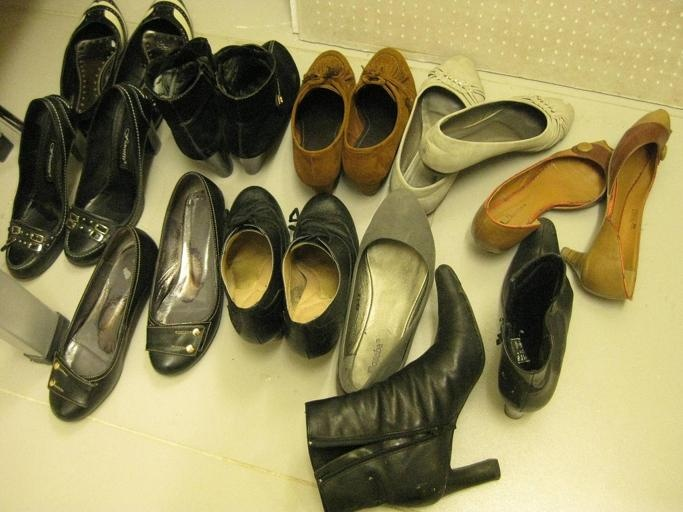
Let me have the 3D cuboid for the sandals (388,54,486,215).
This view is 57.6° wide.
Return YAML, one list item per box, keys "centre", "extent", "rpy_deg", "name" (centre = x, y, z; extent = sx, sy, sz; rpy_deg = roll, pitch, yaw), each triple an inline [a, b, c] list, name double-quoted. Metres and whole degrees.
- centre: [0.326, -0.436, 2.039]
  extent: [0.225, 0.613, 0.158]
  rpy_deg: [18, 0, 14]
  name: "sandals"

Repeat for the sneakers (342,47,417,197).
- centre: [0.122, -0.474, 2.021]
  extent: [0.191, 0.538, 0.198]
  rpy_deg: [12, -21, 8]
  name: "sneakers"

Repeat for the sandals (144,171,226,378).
- centre: [-0.483, 0.062, 2.045]
  extent: [0.225, 0.687, 0.179]
  rpy_deg: [4, -5, 5]
  name: "sandals"

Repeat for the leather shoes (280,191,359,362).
- centre: [-0.068, 0.064, 1.912]
  extent: [0.189, 0.496, 0.174]
  rpy_deg: [4, -10, 6]
  name: "leather shoes"

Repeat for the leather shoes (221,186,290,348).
- centre: [-0.266, 0.028, 1.924]
  extent: [0.172, 0.482, 0.168]
  rpy_deg: [-4, -11, 3]
  name: "leather shoes"
